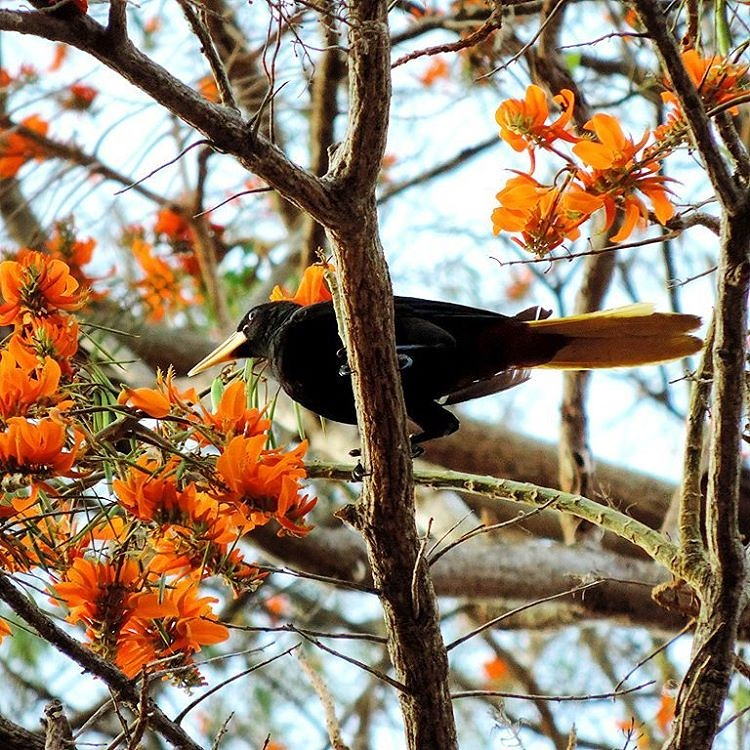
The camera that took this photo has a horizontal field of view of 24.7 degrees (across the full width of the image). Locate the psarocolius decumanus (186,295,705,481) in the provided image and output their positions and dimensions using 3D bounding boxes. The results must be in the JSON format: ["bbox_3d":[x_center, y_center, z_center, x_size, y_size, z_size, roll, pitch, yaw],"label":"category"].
[{"bbox_3d":[0.234,-0.089,5.008,1.409,0.589,0.401,-8,-59,-1],"label":"psarocolius decumanus"}]
